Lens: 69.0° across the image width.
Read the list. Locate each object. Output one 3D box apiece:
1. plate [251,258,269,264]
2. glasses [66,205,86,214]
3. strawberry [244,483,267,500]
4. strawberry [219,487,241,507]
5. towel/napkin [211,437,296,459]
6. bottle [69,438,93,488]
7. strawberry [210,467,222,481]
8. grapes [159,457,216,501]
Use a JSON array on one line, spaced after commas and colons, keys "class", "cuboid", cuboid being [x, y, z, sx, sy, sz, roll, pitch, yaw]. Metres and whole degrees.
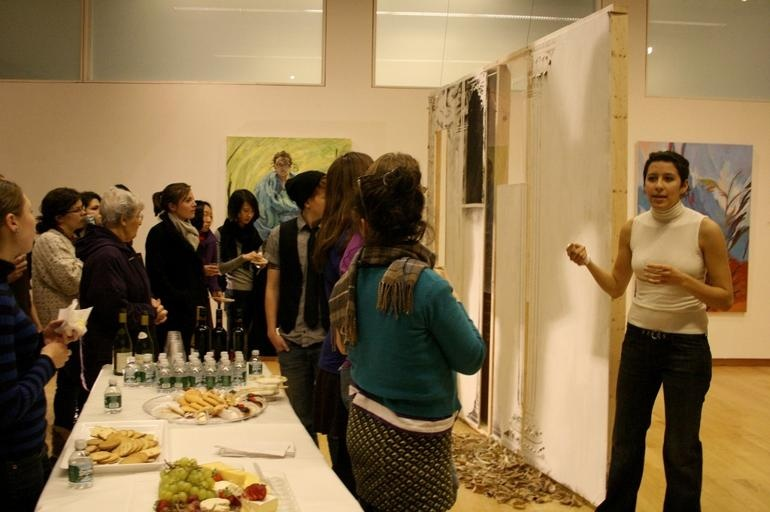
[{"class": "plate", "cuboid": [-0.989, 0.055, 4.578, 0.117, 0.052, 0.123, 3, 4, 33]}, {"class": "glasses", "cuboid": [-2.501, -0.376, 4.564, 0.105, 0.035, 0.110, -6, -1, 34]}, {"class": "strawberry", "cuboid": [-0.510, 0.940, 2.231, 0.090, 0.044, 0.064, -3, 5, -13]}, {"class": "strawberry", "cuboid": [-0.615, 0.970, 2.251, 0.106, 0.056, 0.037, 2, 6, 36]}, {"class": "towel/napkin", "cuboid": [-0.592, 0.907, 2.630, 0.235, 0.055, 0.139, 4, -1, 3]}, {"class": "bottle", "cuboid": [-1.296, 0.882, 2.413, 0.102, 0.194, 0.122, -6, 7, -44]}, {"class": "strawberry", "cuboid": [-0.692, 0.916, 2.357, 0.037, 0.056, 0.038, -18, 3, 5]}, {"class": "grapes", "cuboid": [-0.802, 0.911, 2.272, 0.143, 0.149, 0.202, 4, -4, -8]}]
